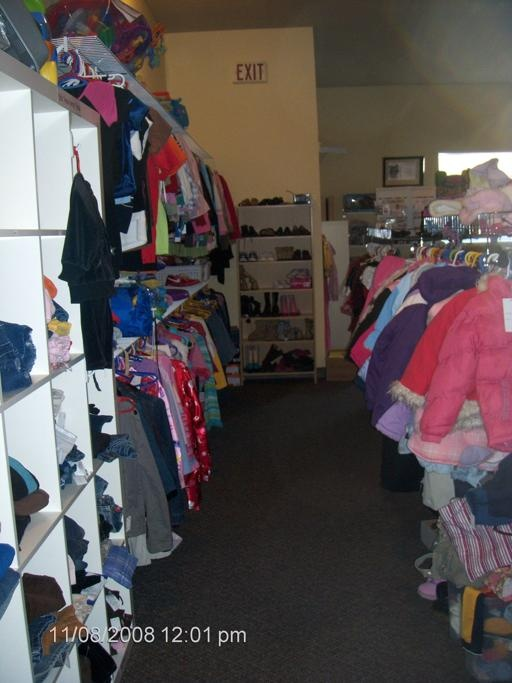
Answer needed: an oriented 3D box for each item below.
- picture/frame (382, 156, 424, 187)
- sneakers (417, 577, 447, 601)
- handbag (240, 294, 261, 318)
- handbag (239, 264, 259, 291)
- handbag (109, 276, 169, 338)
[{"bbox_3d":[2.236,-2.615,8.033,0.788,0.564,0.061,0,7,3],"label":"picture/frame"},{"bbox_3d":[0.740,1.021,2.240,0.080,0.057,0.132,26,35,33],"label":"sneakers"},{"bbox_3d":[-0.068,-0.392,5.945,0.261,0.235,0.059,-5,4,-44],"label":"handbag"},{"bbox_3d":[-0.090,-0.677,5.904,0.125,0.376,0.158,-6,-1,-14],"label":"handbag"},{"bbox_3d":[-0.563,-0.161,2.543,0.305,0.281,0.092,-1,-1,-9],"label":"handbag"}]
